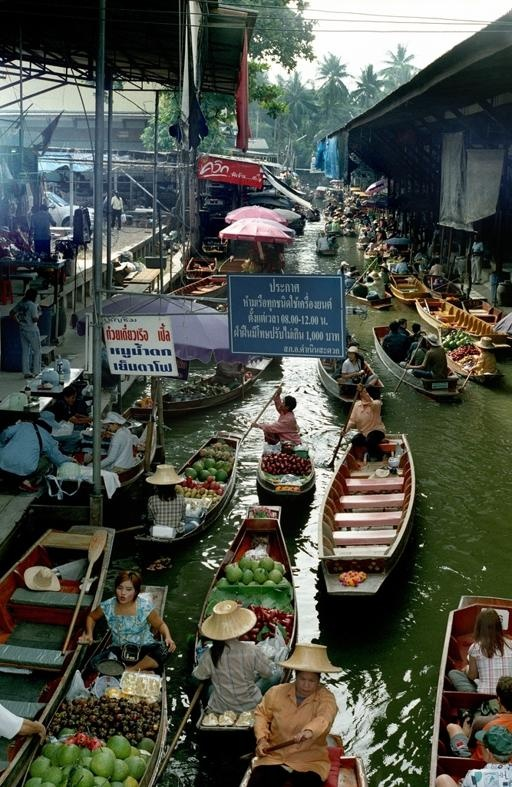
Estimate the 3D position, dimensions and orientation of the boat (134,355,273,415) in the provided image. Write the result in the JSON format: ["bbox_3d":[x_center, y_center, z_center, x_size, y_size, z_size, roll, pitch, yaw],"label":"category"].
[{"bbox_3d":[-0.877,-0.275,15.659,1.057,0.784,4.268,7,16,25],"label":"boat"}]

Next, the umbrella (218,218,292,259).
[{"bbox_3d":[-0.114,-6.793,25.804,2.547,0.928,2.802,0,15,-4],"label":"umbrella"}]

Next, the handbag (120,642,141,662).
[{"bbox_3d":[-1.076,2.212,5.321,0.132,0.166,0.070,8,6,5],"label":"handbag"}]

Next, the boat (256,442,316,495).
[{"bbox_3d":[0.497,1.309,10.447,0.928,0.432,1.429,1,15,0],"label":"boat"}]

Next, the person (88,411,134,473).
[{"bbox_3d":[-2.160,0.777,9.596,0.635,0.853,0.556,-5,16,-20],"label":"person"}]

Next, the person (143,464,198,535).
[{"bbox_3d":[-1.143,1.452,8.542,0.846,0.956,0.690,-8,11,-43],"label":"person"}]

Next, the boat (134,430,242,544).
[{"bbox_3d":[-0.799,1.408,9.588,0.546,0.390,2.613,8,16,5],"label":"boat"}]

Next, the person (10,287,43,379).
[{"bbox_3d":[-4.736,-1.250,12.929,0.650,1.828,0.478,7,14,5],"label":"person"}]

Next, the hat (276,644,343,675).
[{"bbox_3d":[0.324,1.674,3.886,0.324,0.225,0.391,-2,13,-1],"label":"hat"}]

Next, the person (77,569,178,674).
[{"bbox_3d":[-1.177,1.972,5.490,0.805,0.840,1.303,0,8,-12],"label":"person"}]

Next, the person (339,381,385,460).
[{"bbox_3d":[1.935,0.479,11.401,0.755,1.423,0.702,-2,13,-2],"label":"person"}]

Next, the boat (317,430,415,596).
[{"bbox_3d":[1.579,1.701,8.788,1.209,0.747,4.384,5,15,15],"label":"boat"}]

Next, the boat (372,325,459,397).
[{"bbox_3d":[4.020,-0.841,16.765,0.930,0.639,3.472,-8,30,-13],"label":"boat"}]

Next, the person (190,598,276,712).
[{"bbox_3d":[-0.185,2.255,4.992,0.609,1.220,0.432,-6,10,-5],"label":"person"}]

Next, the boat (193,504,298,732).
[{"bbox_3d":[-0.112,2.127,6.002,0.533,0.374,2.616,3,15,3],"label":"boat"}]

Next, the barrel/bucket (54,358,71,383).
[{"bbox_3d":[-3.393,-0.396,10.970,0.260,0.291,0.445,-5,32,-13],"label":"barrel/bucket"}]

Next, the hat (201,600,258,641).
[{"bbox_3d":[-0.211,1.765,4.877,0.413,0.240,0.363,-7,16,-26],"label":"hat"}]

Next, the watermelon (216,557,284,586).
[{"bbox_3d":[-0.004,2.033,7.089,0.451,0.211,0.346,-4,1,3],"label":"watermelon"}]

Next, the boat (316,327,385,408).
[{"bbox_3d":[2.166,-0.600,15.551,0.860,0.608,3.628,-2,18,-3],"label":"boat"}]

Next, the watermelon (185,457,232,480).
[{"bbox_3d":[-0.742,1.260,10.290,0.432,0.162,0.441,5,13,25],"label":"watermelon"}]

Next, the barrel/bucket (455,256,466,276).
[{"bbox_3d":[8.412,-5.242,25.762,0.426,0.874,1.600,4,15,14],"label":"barrel/bucket"}]
